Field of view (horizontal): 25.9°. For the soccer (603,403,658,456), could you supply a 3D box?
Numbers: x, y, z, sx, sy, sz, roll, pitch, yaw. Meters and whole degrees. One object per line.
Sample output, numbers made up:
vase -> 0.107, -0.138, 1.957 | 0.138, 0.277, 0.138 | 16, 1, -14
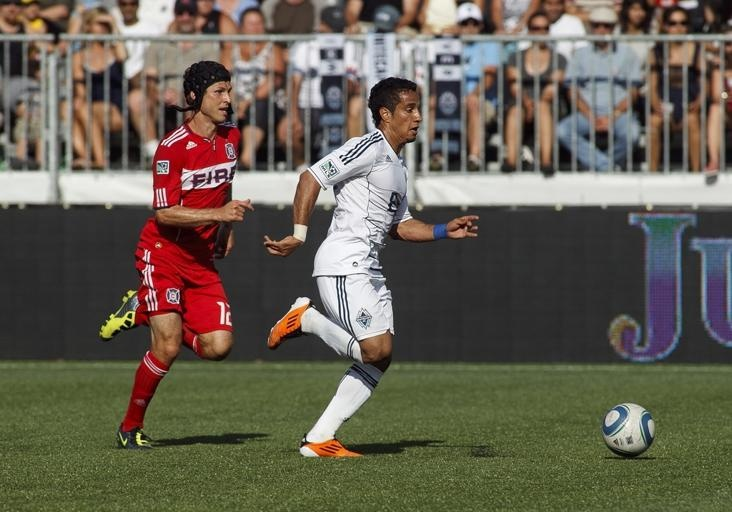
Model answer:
soccer -> 2.346, 1.556, 14.208 | 0.453, 0.464, 0.237 | 1, 3, 8

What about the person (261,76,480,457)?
person -> -0.070, 0.080, 14.292 | 1.464, 3.410, 0.700 | 1, 3, -1

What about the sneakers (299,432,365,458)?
sneakers -> -0.304, 1.684, 14.271 | 0.543, 0.230, 0.209 | 3, -6, -6

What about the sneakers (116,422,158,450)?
sneakers -> -2.116, 1.648, 14.536 | 0.340, 0.198, 0.279 | 0, 3, -9
